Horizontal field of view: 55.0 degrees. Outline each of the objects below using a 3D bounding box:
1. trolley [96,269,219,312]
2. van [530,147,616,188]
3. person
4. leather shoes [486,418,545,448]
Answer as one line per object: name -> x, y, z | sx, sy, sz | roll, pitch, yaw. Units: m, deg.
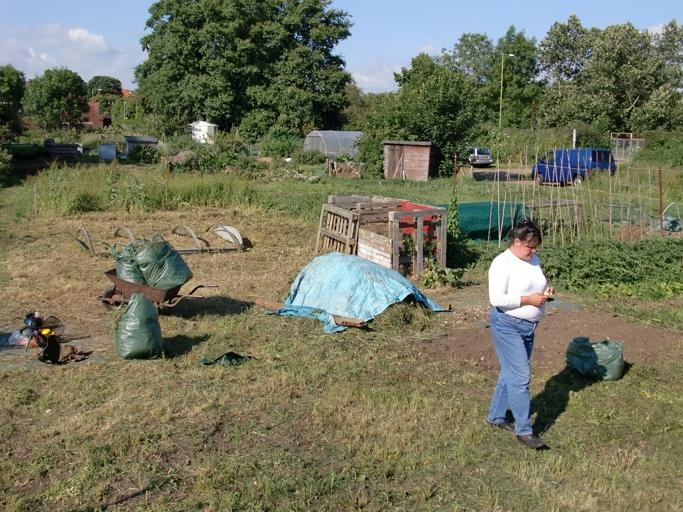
trolley -> -3.227, 0.622, 11.152 | 1.711, 0.639, 0.812 | 4, 3, 0
van -> 10.425, -4.024, 29.816 | 3.437, 1.735, 5.528 | 8, 13, 27
person -> 2.148, 0.910, 8.019 | 0.751, 2.705, 0.598 | 4, 12, 15
leather shoes -> 2.191, 2.217, 8.174 | 0.647, 0.258, 0.222 | 13, 17, 39
